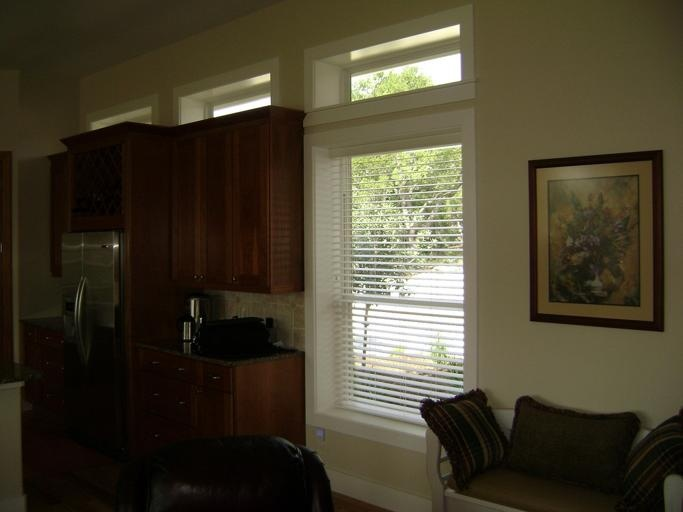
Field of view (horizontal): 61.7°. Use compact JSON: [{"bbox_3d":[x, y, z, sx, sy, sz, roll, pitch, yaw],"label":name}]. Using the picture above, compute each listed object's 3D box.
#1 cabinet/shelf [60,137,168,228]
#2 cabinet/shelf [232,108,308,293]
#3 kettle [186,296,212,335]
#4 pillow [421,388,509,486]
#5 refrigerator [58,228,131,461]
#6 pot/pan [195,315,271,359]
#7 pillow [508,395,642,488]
[{"bbox_3d":[-2.011,-0.569,4.949,0.844,0.850,0.351,-1,-1,24],"label":"cabinet/shelf"},{"bbox_3d":[-0.699,-0.329,4.325,0.664,1.468,0.391,-14,-21,28],"label":"cabinet/shelf"},{"bbox_3d":[-1.166,0.466,4.851,0.200,0.346,0.188,3,15,-3],"label":"kettle"},{"bbox_3d":[0.709,0.994,3.183,0.548,0.550,0.121,-7,7,44],"label":"pillow"},{"bbox_3d":[-2.072,0.682,4.754,0.736,1.800,0.246,2,-1,37],"label":"refrigerator"},{"bbox_3d":[-0.763,0.547,4.160,0.332,0.172,0.337,2,-6,-39],"label":"pot/pan"},{"bbox_3d":[1.221,1.073,3.066,0.458,0.207,0.654,-23,15,-39],"label":"pillow"}]
